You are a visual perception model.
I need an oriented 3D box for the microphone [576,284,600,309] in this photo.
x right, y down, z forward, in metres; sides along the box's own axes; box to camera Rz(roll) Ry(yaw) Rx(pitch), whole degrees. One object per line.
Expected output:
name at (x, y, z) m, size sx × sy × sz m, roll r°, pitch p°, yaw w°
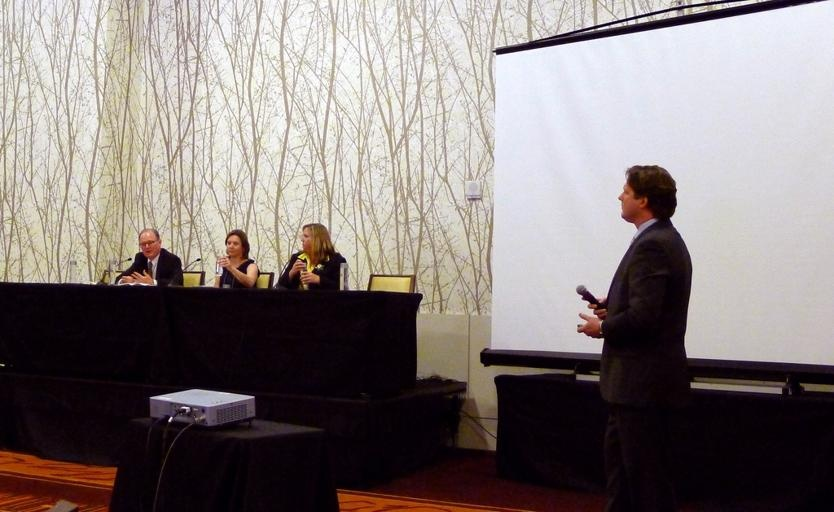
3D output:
microphone at (1.209, 0.278, 4.690) m, size 0.073 × 0.065 × 0.243 m, roll -42°, pitch -40°, yaw 17°

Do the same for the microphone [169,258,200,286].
microphone at (-2.230, 0.147, 6.466) m, size 0.246 × 0.271 × 0.157 m, roll -9°, pitch -8°, yaw 38°

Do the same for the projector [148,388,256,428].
projector at (-1.257, 0.891, 3.885) m, size 0.552 × 0.172 × 0.252 m, roll -1°, pitch 3°, yaw 17°

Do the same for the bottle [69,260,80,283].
bottle at (-2.850, 0.129, 5.515) m, size 0.047 × 0.174 × 0.250 m, roll -3°, pitch 3°, yaw -29°
